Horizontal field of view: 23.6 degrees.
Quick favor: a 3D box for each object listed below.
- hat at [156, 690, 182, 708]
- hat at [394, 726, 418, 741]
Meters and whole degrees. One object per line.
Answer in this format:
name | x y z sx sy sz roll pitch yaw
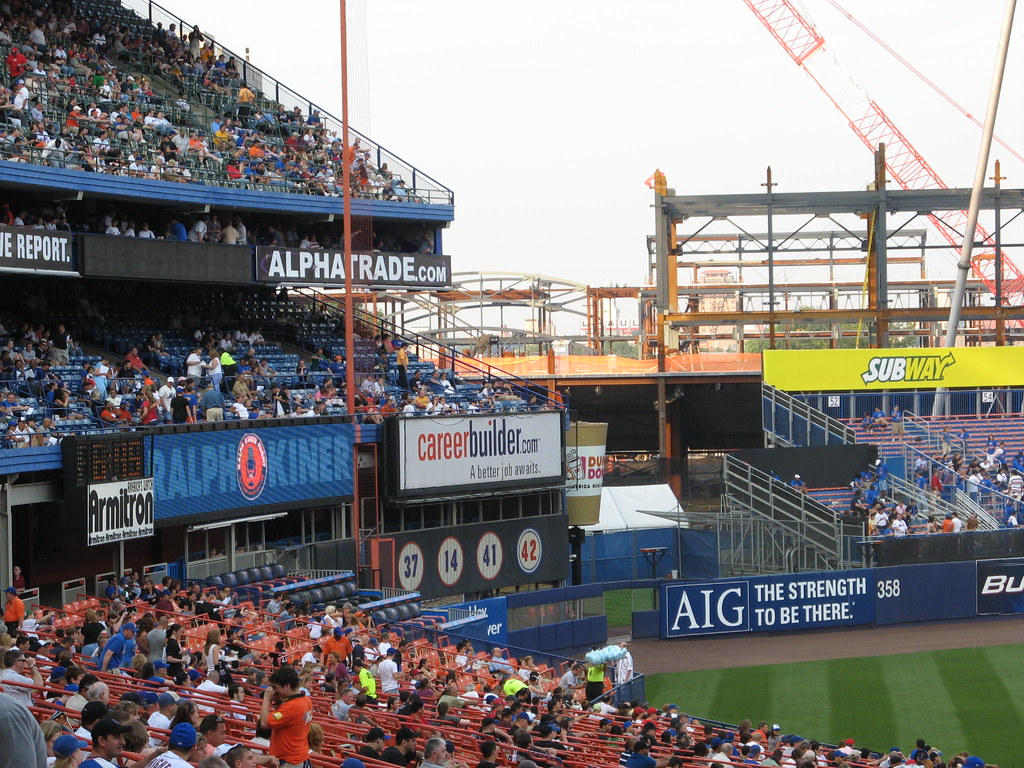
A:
hat | -7.830 7.090 55.599 0.471 0.302 1.244 -1 0 -8
hat | -2.402 7.752 54.574 0.453 0.337 0.577 0 0 3
